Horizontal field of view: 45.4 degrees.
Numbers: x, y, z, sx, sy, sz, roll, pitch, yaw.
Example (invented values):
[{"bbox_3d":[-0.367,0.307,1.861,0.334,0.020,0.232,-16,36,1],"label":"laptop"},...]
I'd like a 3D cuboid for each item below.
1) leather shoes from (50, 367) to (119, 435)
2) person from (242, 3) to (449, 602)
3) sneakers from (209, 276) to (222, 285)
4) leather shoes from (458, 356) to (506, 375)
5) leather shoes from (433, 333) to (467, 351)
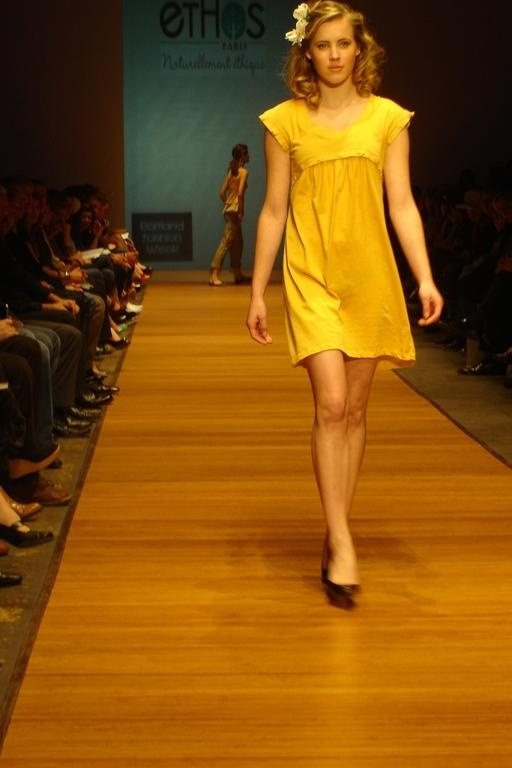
[{"bbox_3d":[-0.934,0.151,3.581,0.118,0.361,0.132,29,-6,-27],"label":"leather shoes"},{"bbox_3d":[0.208,-0.170,1.448,0.422,1.287,0.550,-13,30,-20],"label":"person"},{"bbox_3d":[-0.698,-1.767,10.433,0.243,0.181,0.192,3,28,7],"label":"sneakers"},{"bbox_3d":[1.804,-0.134,4.810,0.428,0.172,0.141,2,-1,-3],"label":"leather shoes"},{"bbox_3d":[1.877,-0.403,6.014,0.336,0.139,0.110,19,11,34],"label":"leather shoes"}]
